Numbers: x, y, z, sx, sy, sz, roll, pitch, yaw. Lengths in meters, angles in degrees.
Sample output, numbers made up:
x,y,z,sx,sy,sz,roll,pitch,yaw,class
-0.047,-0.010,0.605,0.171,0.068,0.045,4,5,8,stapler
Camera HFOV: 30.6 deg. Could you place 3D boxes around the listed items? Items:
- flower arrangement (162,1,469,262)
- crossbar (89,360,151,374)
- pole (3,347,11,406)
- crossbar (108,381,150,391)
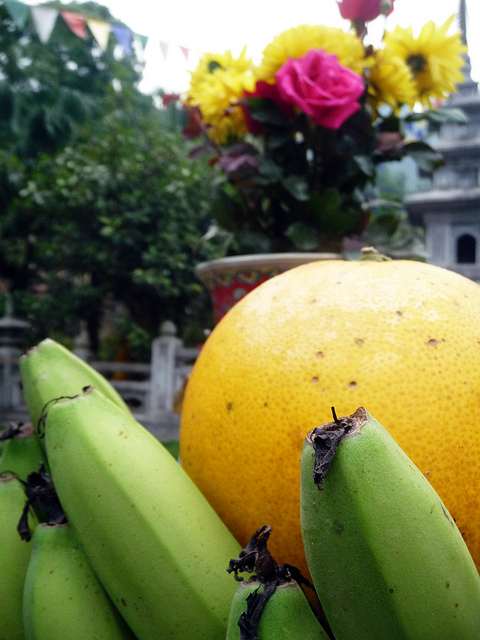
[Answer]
x,y,z,sx,sy,sz,roll,pitch,yaw,class
0.150,-0.427,1.991,0.653,0.576,0.547,3,2,-5,flower arrangement
-0.990,0.402,7.350,0.479,0.094,0.497,3,1,-7,crossbar
-2.064,0.459,7.777,0.082,0.395,0.271,3,2,-15,pole
-0.898,0.548,7.205,0.304,0.079,0.326,3,1,-9,crossbar
